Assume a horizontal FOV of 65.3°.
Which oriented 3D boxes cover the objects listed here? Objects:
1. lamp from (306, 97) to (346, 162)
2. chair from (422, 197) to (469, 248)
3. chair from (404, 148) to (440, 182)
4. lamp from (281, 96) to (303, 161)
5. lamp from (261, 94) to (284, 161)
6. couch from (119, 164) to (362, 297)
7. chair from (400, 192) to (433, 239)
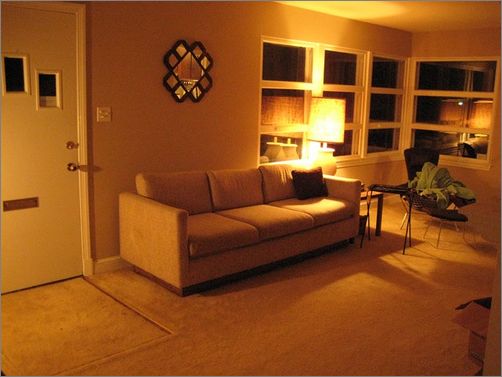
[{"bbox_3d":[1.065,-0.825,5.487,0.500,0.890,0.513,2,10,-12],"label":"lamp"},{"bbox_3d":[2.445,0.395,4.912,0.447,0.627,0.497,4,5,8],"label":"chair"},{"bbox_3d":[2.653,-0.367,6.211,0.441,0.588,0.507,5,4,20],"label":"chair"},{"bbox_3d":[0.611,-0.847,5.543,0.117,0.890,0.431,12,17,40],"label":"lamp"},{"bbox_3d":[0.291,-0.831,5.316,0.110,0.983,0.469,13,18,42],"label":"lamp"},{"bbox_3d":[-0.075,0.321,4.242,2.490,0.991,0.964,-7,16,-30],"label":"couch"},{"bbox_3d":[2.304,0.392,5.442,0.410,0.624,0.472,-5,11,-18],"label":"chair"}]
